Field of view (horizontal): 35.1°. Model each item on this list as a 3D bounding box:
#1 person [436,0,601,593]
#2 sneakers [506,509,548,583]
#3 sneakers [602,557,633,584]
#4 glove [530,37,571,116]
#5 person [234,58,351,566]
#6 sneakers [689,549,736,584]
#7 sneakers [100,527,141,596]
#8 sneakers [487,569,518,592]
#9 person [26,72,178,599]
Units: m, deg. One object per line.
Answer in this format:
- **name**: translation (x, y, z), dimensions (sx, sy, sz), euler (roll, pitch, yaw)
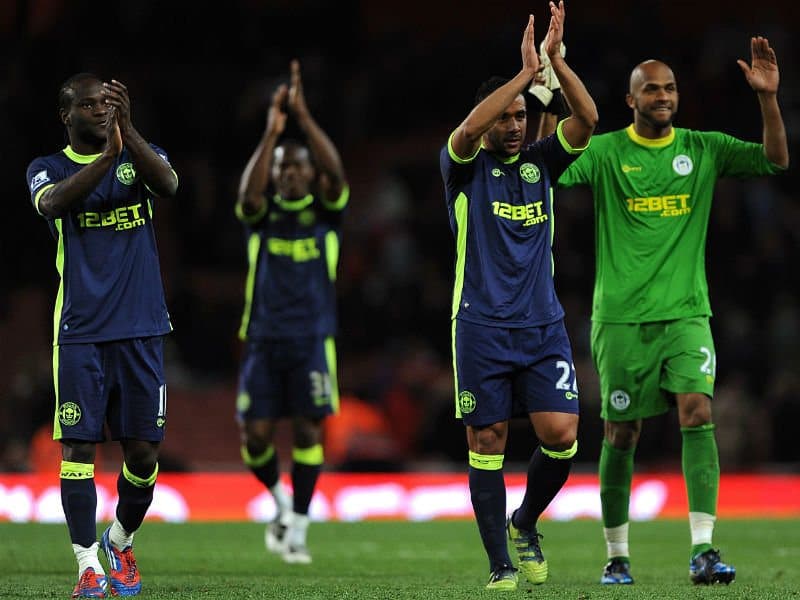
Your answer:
- **person**: translation (0.770, -0.042, 8.285), dimensions (0.844, 3.810, 0.798), euler (2, -8, -32)
- **sneakers**: translation (0.844, 1.709, 8.543), dimensions (0.182, 0.514, 0.238), euler (-12, -23, -25)
- **sneakers**: translation (1.451, 1.821, 8.488), dimensions (0.226, 0.158, 0.309), euler (-3, -7, 9)
- **glove**: translation (1.009, -1.492, 8.615), dimensions (0.187, 0.540, 0.241), euler (-1, 6, 42)
- **person**: translation (-0.836, 0.360, 9.845), dimensions (0.728, 3.289, 1.243), euler (3, -8, -37)
- **sneakers**: translation (2.030, 1.764, 8.346), dimensions (0.149, 0.181, 0.374), euler (3, -14, -33)
- **sneakers**: translation (-1.868, 1.747, 8.332), dimensions (0.174, 0.464, 0.199), euler (2, -41, -46)
- **sneakers**: translation (0.650, 1.788, 8.091), dimensions (0.194, 0.139, 0.126), euler (-2, -7, -3)
- **person**: translation (-1.863, 0.218, 8.227), dimensions (0.830, 3.372, 0.847), euler (-4, -7, 21)
